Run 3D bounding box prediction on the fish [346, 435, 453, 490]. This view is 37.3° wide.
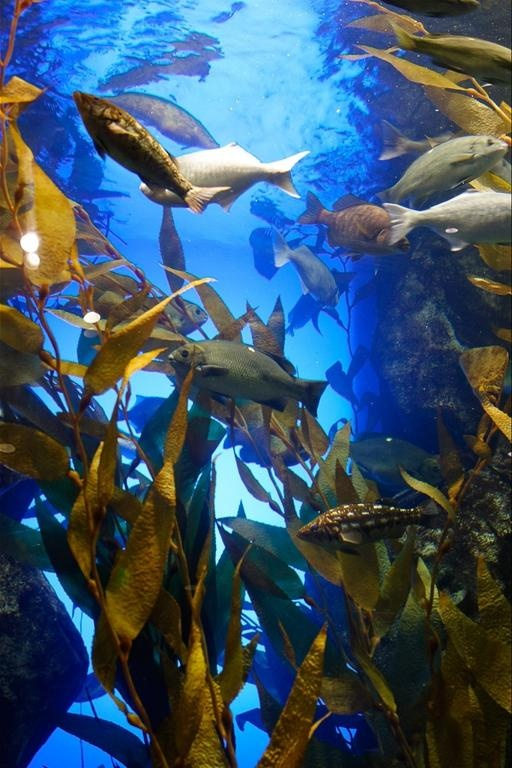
[{"bbox_3d":[0.457,0.249,2.481,0.169,0.117,0.377,16,8,-11],"label":"fish"}]
